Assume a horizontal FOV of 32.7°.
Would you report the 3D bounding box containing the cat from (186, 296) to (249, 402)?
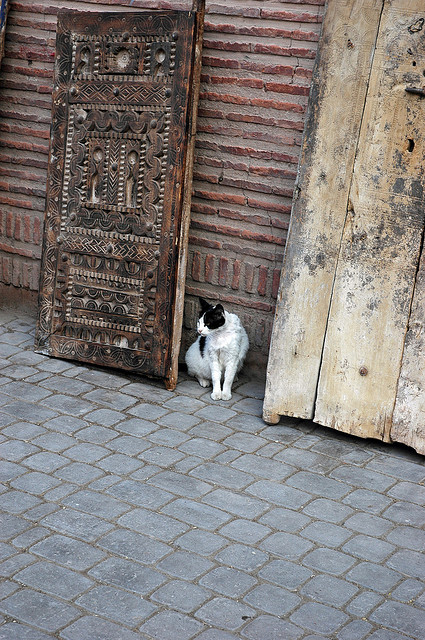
[{"bbox_3d":[0.043,0.142,5.120,0.489,0.713,0.641,-1,14,1],"label":"cat"}]
